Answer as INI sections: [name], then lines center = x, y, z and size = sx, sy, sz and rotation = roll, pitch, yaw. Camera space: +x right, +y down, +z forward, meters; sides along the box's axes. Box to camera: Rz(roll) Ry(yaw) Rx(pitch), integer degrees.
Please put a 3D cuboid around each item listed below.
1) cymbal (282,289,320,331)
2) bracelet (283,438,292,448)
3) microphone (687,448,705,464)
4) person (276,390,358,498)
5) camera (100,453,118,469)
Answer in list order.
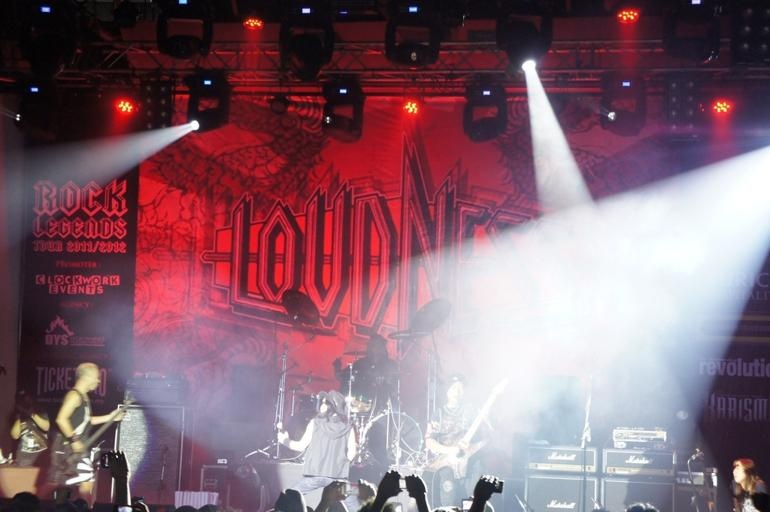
[cymbal]
center = -1.225, 0.777, 11.538
size = 0.541, 0.542, 0.323
rotation = 2, -10, -7
[bracelet]
center = -1.216, 2.296, 9.826
size = 0.096, 0.105, 0.025
rotation = 23, -2, 5
[microphone]
center = 3.920, 2.516, 10.148
size = 0.233, 0.202, 0.151
rotation = -3, -14, 2
[person]
center = -0.818, 2.537, 9.995
size = 1.150, 1.734, 0.506
rotation = 6, 15, 3
[camera]
center = -2.434, 1.760, 6.978
size = 0.094, 0.141, 0.295
rotation = 7, -13, -32
